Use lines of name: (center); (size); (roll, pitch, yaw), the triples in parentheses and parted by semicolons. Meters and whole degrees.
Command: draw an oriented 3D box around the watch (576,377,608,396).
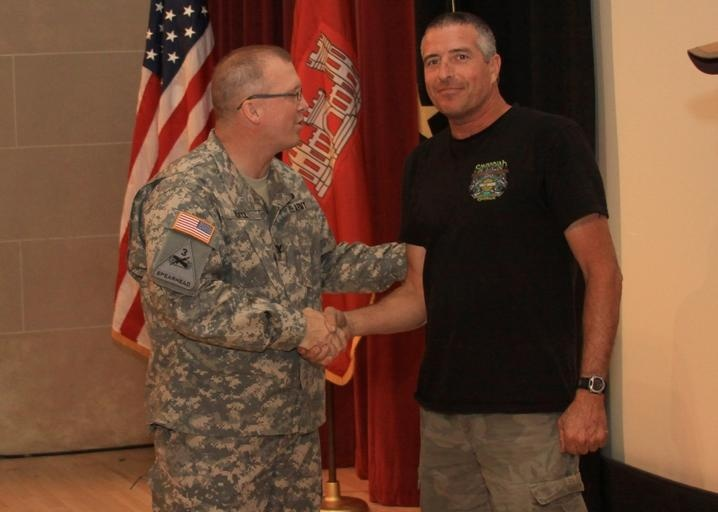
watch: (0.833, 0.453, 2.996); (0.096, 0.068, 0.077); (1, 12, 12)
